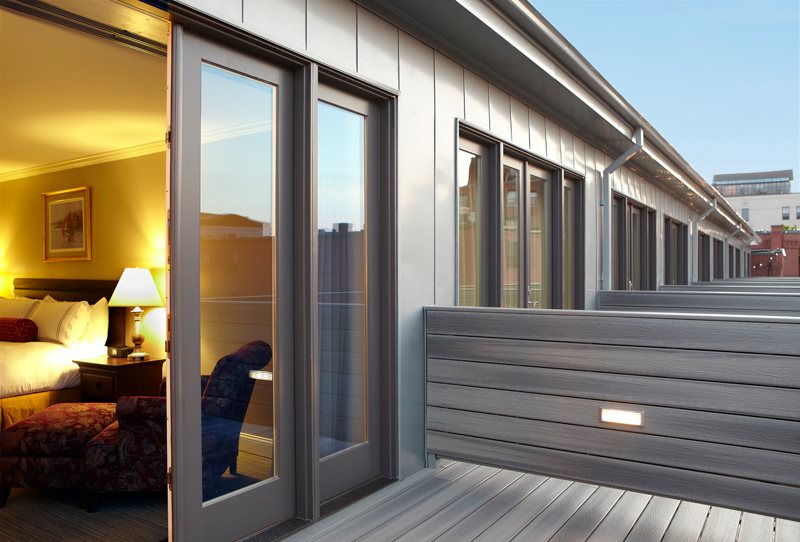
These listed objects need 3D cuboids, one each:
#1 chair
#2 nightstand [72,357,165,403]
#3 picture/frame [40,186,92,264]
[{"bbox_3d":[-1.415,0.979,3.701,1.166,1.105,0.939,-2,-8,10],"label":"chair"},{"bbox_3d":[-2.739,1.179,5.391,0.599,0.638,0.534,2,0,25],"label":"nightstand"},{"bbox_3d":[-4.038,-0.551,6.754,0.865,0.936,0.063,-4,-5,32],"label":"picture/frame"}]
